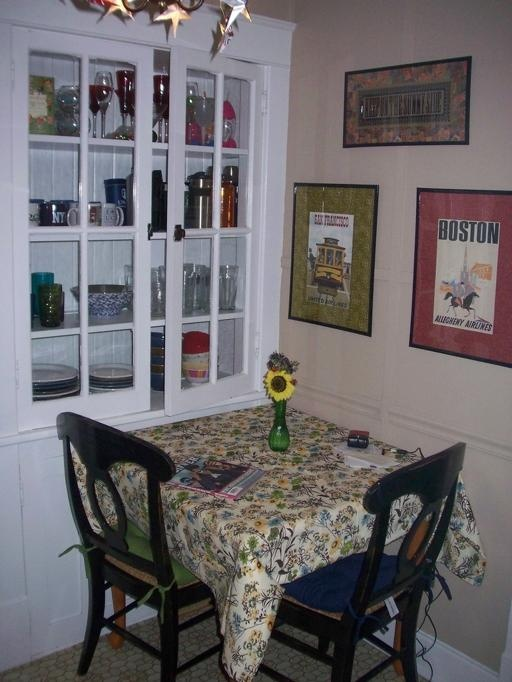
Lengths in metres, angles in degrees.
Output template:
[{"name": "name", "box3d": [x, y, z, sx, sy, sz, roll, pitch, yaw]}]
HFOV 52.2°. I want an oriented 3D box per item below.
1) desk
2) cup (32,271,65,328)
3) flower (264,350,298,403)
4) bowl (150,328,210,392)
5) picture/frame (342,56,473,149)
[{"name": "desk", "box3d": [-0.089, 0.364, 1.413, 0.775, 0.316, 0.793, -11, 21, -33]}, {"name": "cup", "box3d": [-0.629, -0.124, 1.579, 0.083, 0.165, 0.109, 9, 12, 39]}, {"name": "flower", "box3d": [0.074, 0.110, 1.635, 0.096, 0.135, 0.154, 2, 10, 4]}, {"name": "bowl", "box3d": [-0.253, 0.062, 1.878, 0.220, 0.242, 0.171, 0, 6, -36]}, {"name": "picture/frame", "box3d": [0.437, -0.719, 1.589, 0.031, 0.288, 0.485, -5, 12, -31]}]
